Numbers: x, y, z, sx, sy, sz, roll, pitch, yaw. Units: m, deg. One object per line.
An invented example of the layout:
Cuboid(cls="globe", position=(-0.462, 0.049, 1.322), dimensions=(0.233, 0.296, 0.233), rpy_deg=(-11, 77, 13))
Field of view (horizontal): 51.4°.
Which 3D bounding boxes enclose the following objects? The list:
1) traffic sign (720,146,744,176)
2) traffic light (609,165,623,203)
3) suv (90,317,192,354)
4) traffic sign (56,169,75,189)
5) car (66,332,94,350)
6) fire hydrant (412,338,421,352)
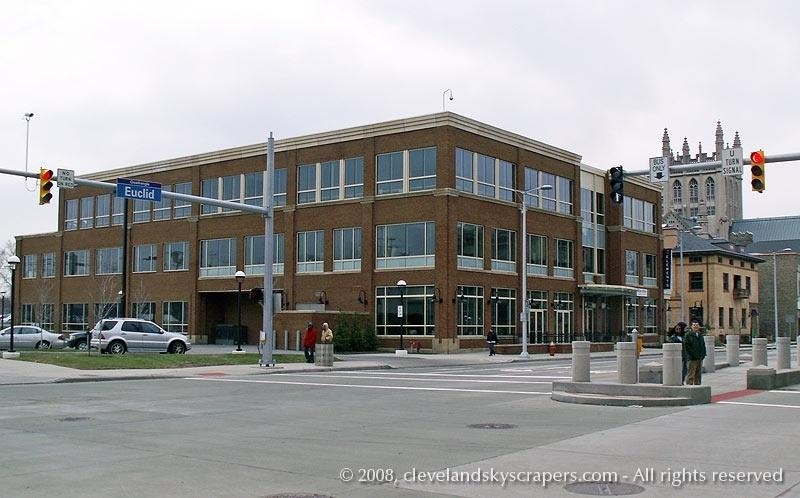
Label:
Cuboid(cls="traffic sign", position=(12.556, -3.316, 31.515), dimensions=(0.772, 1.164, 0.722), rpy_deg=(-4, -11, 19))
Cuboid(cls="traffic light", position=(8.062, -2.420, 31.053), dimensions=(0.511, 1.449, 0.424), rpy_deg=(1, -5, 14))
Cuboid(cls="suv", position=(-14.428, 5.035, 46.425), dimensions=(4.787, 1.800, 2.307), rpy_deg=(-1, -3, -17))
Cuboid(cls="traffic sign", position=(-14.288, -2.997, 35.543), dimensions=(0.728, 0.837, 2.235), rpy_deg=(4, -11, -21))
Cuboid(cls="car", position=(-19.336, 5.549, 50.345), dimensions=(1.583, 1.056, 0.722), rpy_deg=(-4, -11, 22))
Cuboid(cls="fire hydrant", position=(1.055, 6.496, 56.471), dimensions=(0.565, 0.932, 0.555), rpy_deg=(-3, -11, 18))
